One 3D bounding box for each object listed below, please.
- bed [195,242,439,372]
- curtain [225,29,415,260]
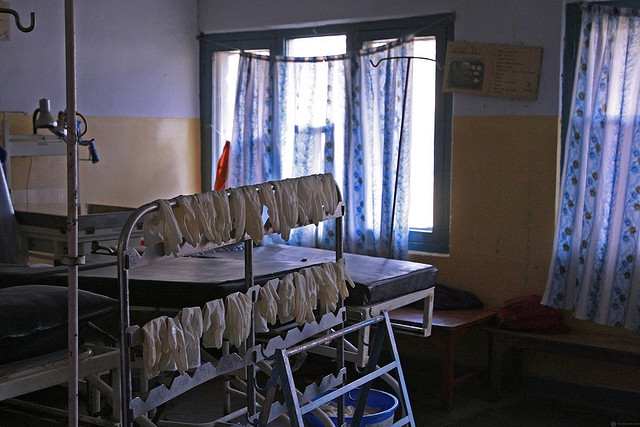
[{"bbox_3d":[0.364,0.488,3.925,0.939,0.506,1.365,7,9,32],"label":"bed"},{"bbox_3d":[0.080,-0.528,4.624,1.808,2.069,0.160,4,6,26],"label":"curtain"}]
